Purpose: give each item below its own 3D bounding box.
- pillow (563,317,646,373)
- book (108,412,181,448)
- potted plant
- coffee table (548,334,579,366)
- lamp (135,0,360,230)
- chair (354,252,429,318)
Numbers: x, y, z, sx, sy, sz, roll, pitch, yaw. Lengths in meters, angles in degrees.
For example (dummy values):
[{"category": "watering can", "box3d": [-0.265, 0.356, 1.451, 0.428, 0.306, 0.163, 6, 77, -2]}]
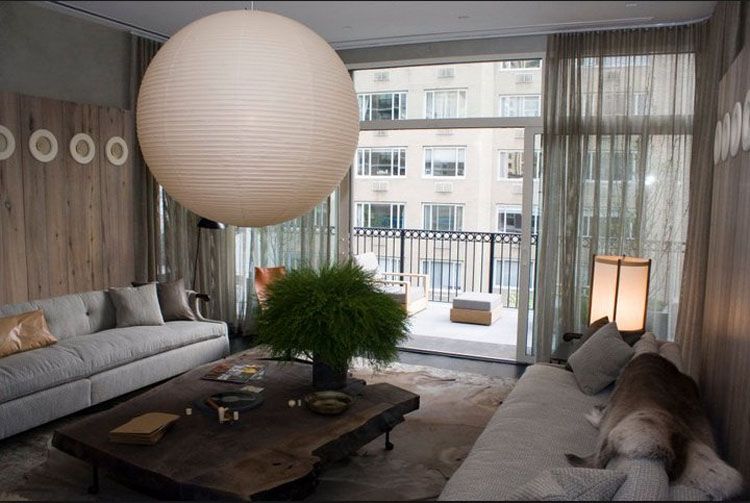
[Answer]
[{"category": "pillow", "box3d": [1.929, 0.803, 4.471, 0.248, 0.541, 0.552, 27, 29, 7]}, {"category": "book", "box3d": [-1.497, 1.151, 3.343, 0.307, 0.077, 0.314, 2, 12, 12]}, {"category": "potted plant", "box3d": [-0.420, 0.561, 3.859, 0.938, 0.711, 0.910, -4, 8, -39]}, {"category": "coffee table", "box3d": [1.796, 0.935, 4.864, 0.202, 0.193, 0.403, 5, 17, 23]}, {"category": "lamp", "box3d": [-0.412, -0.458, 2.280, 0.895, 0.954, 0.815, 3, -21, -5]}, {"category": "chair", "box3d": [0.309, 0.554, 8.106, 0.948, 0.888, 1.325, 2, 5, 13]}]
